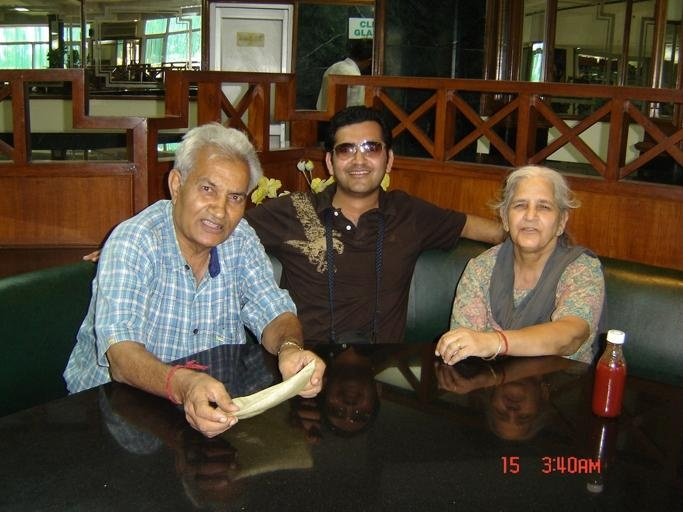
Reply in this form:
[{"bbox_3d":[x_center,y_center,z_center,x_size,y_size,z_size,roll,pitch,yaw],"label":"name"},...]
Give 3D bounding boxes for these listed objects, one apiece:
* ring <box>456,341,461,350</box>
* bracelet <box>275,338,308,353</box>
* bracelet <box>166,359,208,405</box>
[{"bbox_3d":[0.430,0.331,1.918,0.021,0.020,0.007,-5,-25,18],"label":"ring"},{"bbox_3d":[-0.196,0.334,1.958,0.057,0.042,0.056,0,4,-31],"label":"bracelet"},{"bbox_3d":[-0.507,0.389,1.625,0.083,0.110,0.032,2,-13,-16],"label":"bracelet"}]
